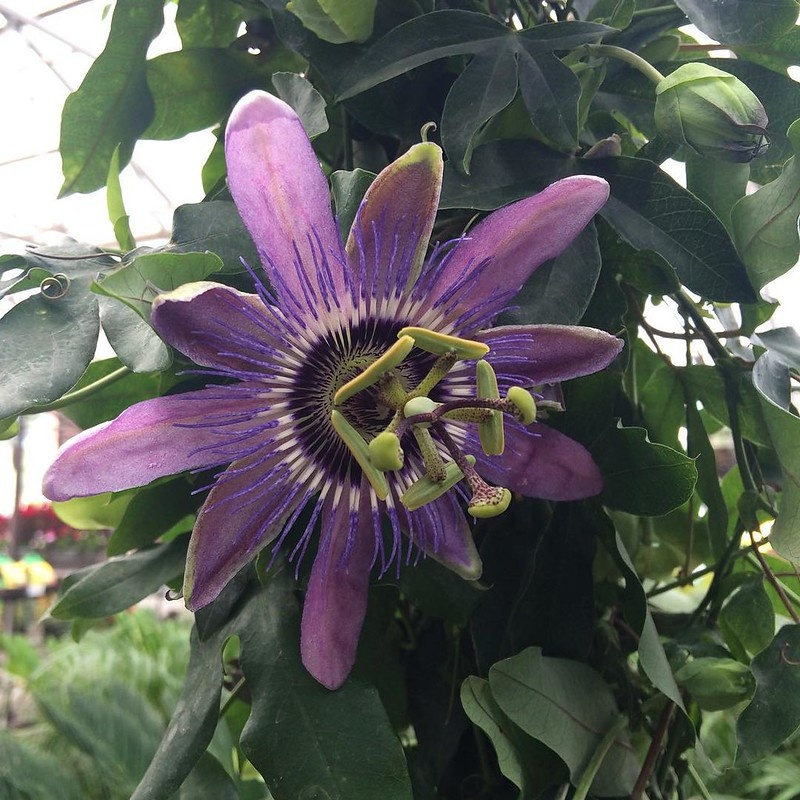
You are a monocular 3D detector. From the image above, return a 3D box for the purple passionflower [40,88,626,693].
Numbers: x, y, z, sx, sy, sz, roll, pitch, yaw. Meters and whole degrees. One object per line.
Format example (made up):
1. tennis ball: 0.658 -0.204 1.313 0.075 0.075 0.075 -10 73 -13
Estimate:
1. purple passionflower: -0.075 -0.002 1.083 0.561 0.594 0.236 -3 -6 -15
